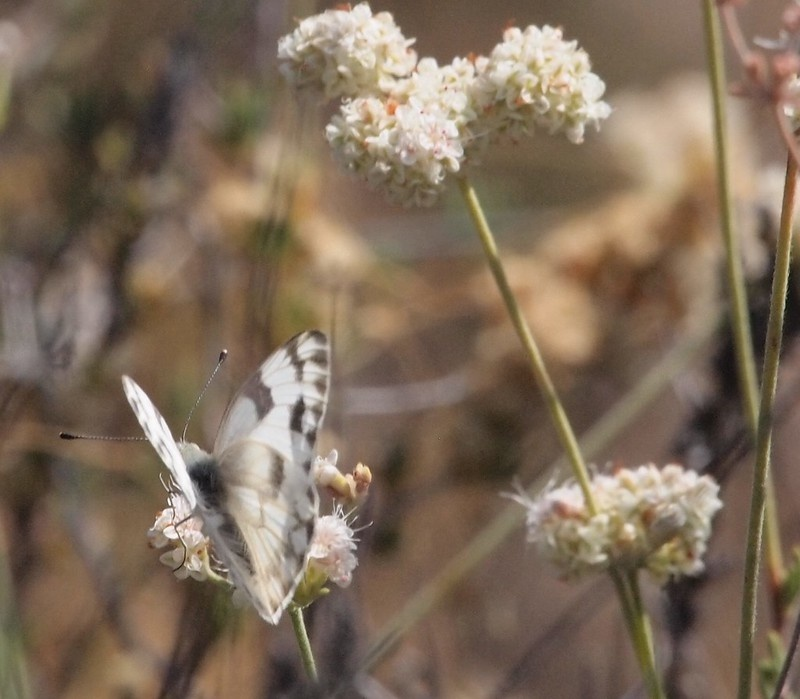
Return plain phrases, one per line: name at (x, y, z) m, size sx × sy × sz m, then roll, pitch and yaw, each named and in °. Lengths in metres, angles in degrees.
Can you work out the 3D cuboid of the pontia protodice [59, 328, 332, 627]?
pontia protodice at (-0.108, 0.027, 0.653) m, size 0.120 × 0.180 × 0.116 m, roll -7°, pitch 8°, yaw -6°
